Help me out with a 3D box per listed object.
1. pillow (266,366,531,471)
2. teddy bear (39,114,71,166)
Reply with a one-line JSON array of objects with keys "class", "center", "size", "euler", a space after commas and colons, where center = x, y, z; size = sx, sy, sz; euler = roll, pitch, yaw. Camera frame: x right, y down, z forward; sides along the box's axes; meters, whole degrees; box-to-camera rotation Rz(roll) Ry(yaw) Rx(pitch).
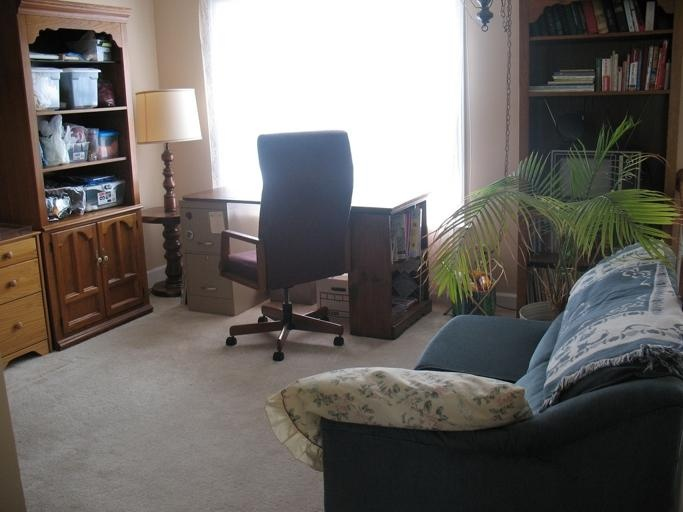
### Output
[{"class": "pillow", "center": [0.143, 0.367, 1.554], "size": [0.534, 0.173, 0.370], "euler": [-7, 12, -24]}, {"class": "teddy bear", "center": [-1.970, -0.769, 3.679], "size": [0.100, 0.316, 0.236], "euler": [8, 18, 40]}]
